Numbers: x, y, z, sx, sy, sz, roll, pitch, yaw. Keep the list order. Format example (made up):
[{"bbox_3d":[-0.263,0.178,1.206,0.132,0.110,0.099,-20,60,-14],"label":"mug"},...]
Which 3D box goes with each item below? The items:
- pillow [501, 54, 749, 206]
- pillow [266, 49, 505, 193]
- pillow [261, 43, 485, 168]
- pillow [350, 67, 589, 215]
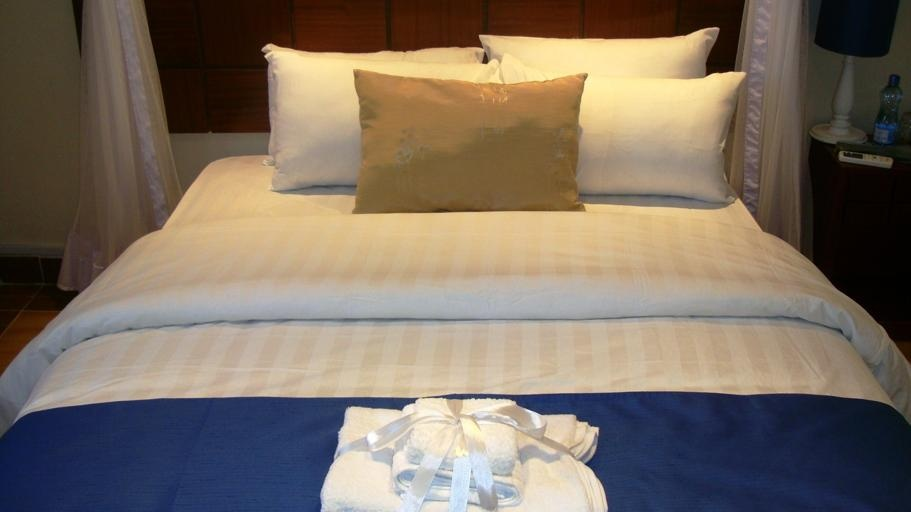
[{"bbox_3d":[0.721,-0.555,3.161,1.140,0.609,0.356,0,11,-7],"label":"pillow"},{"bbox_3d":[-0.310,-0.578,3.012,0.692,0.421,0.227,-1,28,-7],"label":"pillow"},{"bbox_3d":[-0.355,-0.659,3.047,0.688,0.408,0.121,-1,-5,-1],"label":"pillow"},{"bbox_3d":[0.075,-0.491,3.008,1.060,0.644,0.276,0,18,-7],"label":"pillow"}]
